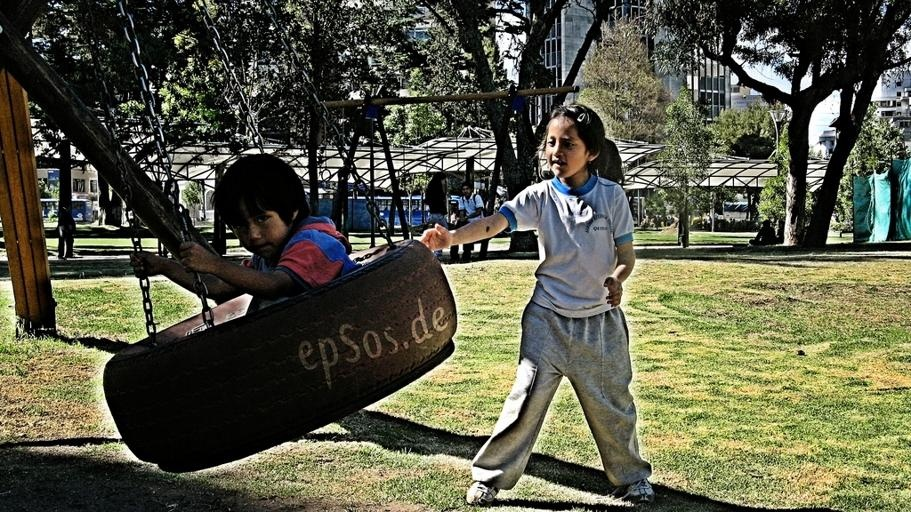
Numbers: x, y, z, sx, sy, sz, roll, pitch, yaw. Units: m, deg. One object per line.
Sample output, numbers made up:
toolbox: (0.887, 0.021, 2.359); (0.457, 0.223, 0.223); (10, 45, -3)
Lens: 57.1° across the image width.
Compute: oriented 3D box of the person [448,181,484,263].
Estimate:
person: (0.213, -0.725, 17.437); (0.892, 1.777, 0.680); (0, 2, 14)
